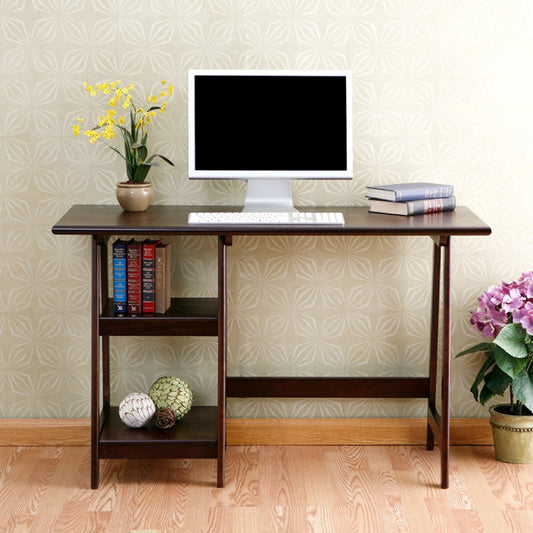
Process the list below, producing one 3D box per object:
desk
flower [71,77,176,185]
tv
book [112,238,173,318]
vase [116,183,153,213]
[{"bbox_3d":[-0.018,0.253,1.784,1.312,0.896,0.477,0,7,0],"label":"desk"},{"bbox_3d":[-0.485,-0.426,1.836,0.251,0.301,0.195,-7,-8,-13],"label":"flower"},{"bbox_3d":[0.008,-0.427,1.742,0.430,0.413,0.121,0,6,-2],"label":"tv"},{"bbox_3d":[-0.390,0.027,1.715,0.199,0.329,0.207,1,4,3],"label":"book"},{"bbox_3d":[-0.437,-0.219,1.759,0.087,0.079,0.099,0,7,0],"label":"vase"}]
